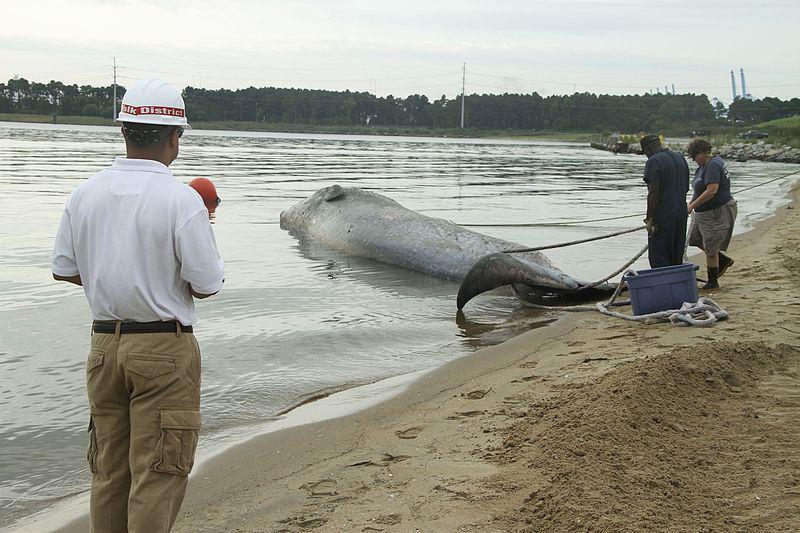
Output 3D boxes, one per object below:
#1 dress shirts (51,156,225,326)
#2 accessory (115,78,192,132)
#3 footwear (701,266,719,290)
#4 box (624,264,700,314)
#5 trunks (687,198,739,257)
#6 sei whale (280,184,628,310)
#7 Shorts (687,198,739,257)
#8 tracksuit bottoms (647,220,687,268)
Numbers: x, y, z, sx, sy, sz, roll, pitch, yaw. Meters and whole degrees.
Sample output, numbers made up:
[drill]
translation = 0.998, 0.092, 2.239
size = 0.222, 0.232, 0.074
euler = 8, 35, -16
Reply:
[dress shirts]
translation = -1.943, -0.184, 8.077
size = 1.803, 1.231, 1.045
euler = 6, 6, 31
[accessory]
translation = -1.978, -1.309, 7.931
size = 0.560, 0.308, 0.650
euler = 15, 14, 12
[footwear]
translation = 4.014, 0.157, 13.000
size = 0.206, 0.278, 0.187
euler = 3, 8, 11
[box]
translation = 3.051, 0.281, 11.780
size = 0.896, 0.431, 0.547
euler = -10, -4, 11
[trunks]
translation = 4.134, -0.576, 13.294
size = 0.605, 0.730, 0.666
euler = -3, 14, -10
[sei whale]
translation = 0.137, -0.396, 15.861
size = 2.453, 0.922, 6.902
euler = -4, 15, -40
[Shorts]
translation = 4.102, -0.453, 13.224
size = 0.686, 0.749, 0.809
euler = 0, -17, 8
[tracksuit bottoms]
translation = 3.219, -0.189, 12.428
size = 0.201, 0.480, 0.257
euler = 11, -10, 1
